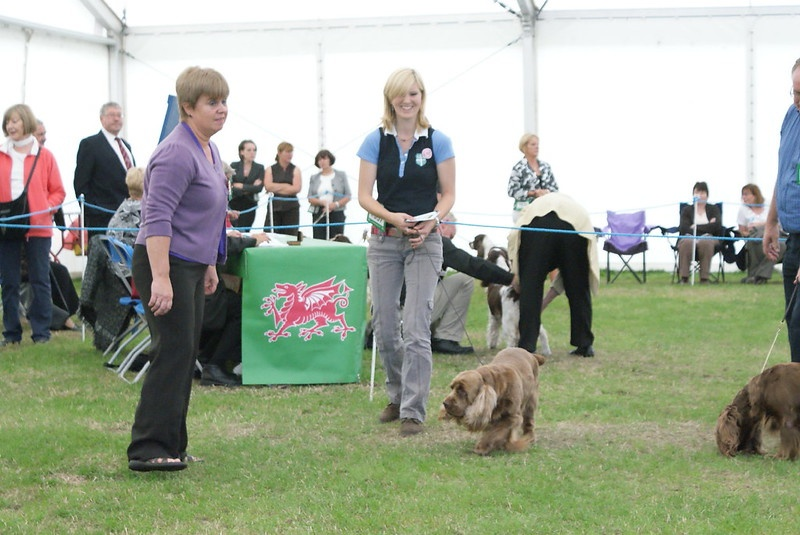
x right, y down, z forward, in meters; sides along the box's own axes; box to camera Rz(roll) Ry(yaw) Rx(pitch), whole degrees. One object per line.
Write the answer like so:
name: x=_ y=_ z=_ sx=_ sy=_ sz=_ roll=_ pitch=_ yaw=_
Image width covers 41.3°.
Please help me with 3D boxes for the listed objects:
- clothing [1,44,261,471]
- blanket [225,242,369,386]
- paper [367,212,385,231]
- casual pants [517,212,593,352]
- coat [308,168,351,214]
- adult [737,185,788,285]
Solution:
clothing: x=-1.885 y=0.016 z=8.928 sx=0.609 sy=3.401 sz=0.958 roll=3 pitch=10 yaw=21
blanket: x=-1.171 y=0.501 z=11.576 sx=1.437 sy=1.305 sz=1.602 roll=1 pitch=-1 yaw=-11
paper: x=-0.228 y=-0.439 z=9.868 sx=0.179 sy=0.123 sz=0.019 roll=36 pitch=41 yaw=30
casual pants: x=1.713 y=0.290 z=11.760 sx=1.029 sy=1.468 sz=0.391 roll=-5 pitch=10 yaw=-27
coat: x=-1.115 y=-1.188 z=16.421 sx=0.844 sy=0.793 sz=0.447 roll=0 pitch=-4 yaw=0
adult: x=5.674 y=-0.492 z=16.813 sx=0.571 sy=1.540 sz=0.551 roll=-12 pitch=20 yaw=-3
